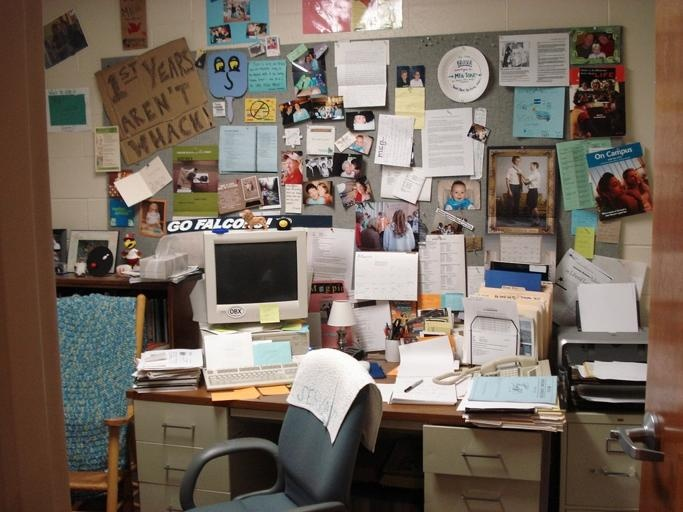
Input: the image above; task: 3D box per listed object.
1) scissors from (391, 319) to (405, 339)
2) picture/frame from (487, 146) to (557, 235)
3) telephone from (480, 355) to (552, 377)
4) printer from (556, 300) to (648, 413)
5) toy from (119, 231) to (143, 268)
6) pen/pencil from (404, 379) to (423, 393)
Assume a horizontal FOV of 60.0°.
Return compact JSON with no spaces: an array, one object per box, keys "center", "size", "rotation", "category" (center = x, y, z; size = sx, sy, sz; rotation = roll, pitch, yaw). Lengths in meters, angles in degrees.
[{"center":[0.269,0.350,2.803],"size":[0.060,0.085,0.030],"rotation":[2,-7,1],"category":"scissors"},{"center":[0.856,-0.314,2.762],"size":[0.388,0.532,0.041],"rotation":[1,1,7],"category":"picture/frame"},{"center":[0.688,0.440,2.347],"size":[0.166,0.060,0.121],"rotation":[1,3,7],"category":"telephone"},{"center":[1.056,0.436,2.445],"size":[0.391,0.175,0.551],"rotation":[1,14,1],"category":"printer"},{"center":[-1.121,-0.025,3.144],"size":[0.100,0.193,0.070],"rotation":[-7,1,-8],"category":"toy"},{"center":[0.285,0.516,2.410],"size":[0.029,0.015,0.123],"rotation":[11,18,25],"category":"pen/pencil"}]
